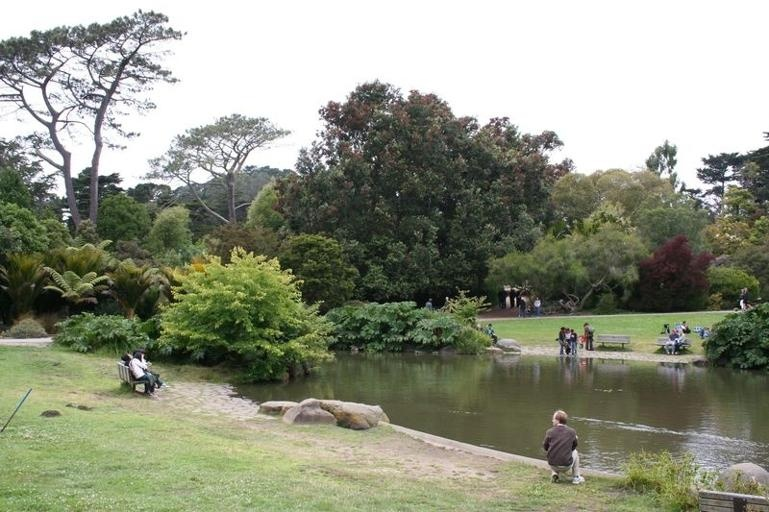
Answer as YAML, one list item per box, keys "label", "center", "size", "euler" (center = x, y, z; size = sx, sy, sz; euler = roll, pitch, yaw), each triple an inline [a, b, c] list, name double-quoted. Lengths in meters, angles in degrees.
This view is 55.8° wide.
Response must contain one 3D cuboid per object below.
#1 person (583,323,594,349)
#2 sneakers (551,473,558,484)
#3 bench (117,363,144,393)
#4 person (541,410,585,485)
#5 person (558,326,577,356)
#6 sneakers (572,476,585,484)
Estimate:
- label: "person"
  center: [11.895, 4.653, 42.131]
  size: [0.578, 1.377, 1.243]
  euler: [7, 9, 14]
- label: "sneakers"
  center: [5.146, 6.573, 21.843]
  size: [0.249, 0.281, 0.299]
  euler: [7, 9, 14]
- label: "bench"
  center: [-9.718, 4.642, 28.029]
  size: [1.066, 0.972, 0.780]
  euler: [13, 13, 43]
- label: "person"
  center: [5.463, 5.707, 22.073]
  size: [1.205, 1.949, 1.089]
  euler: [7, 10, 15]
- label: "person"
  center: [10.257, 4.813, 40.492]
  size: [0.906, 1.255, 1.423]
  euler: [2, 9, -12]
- label: "sneakers"
  center: [5.789, 6.647, 21.712]
  size: [0.142, 0.177, 0.409]
  euler: [1, 0, 40]
